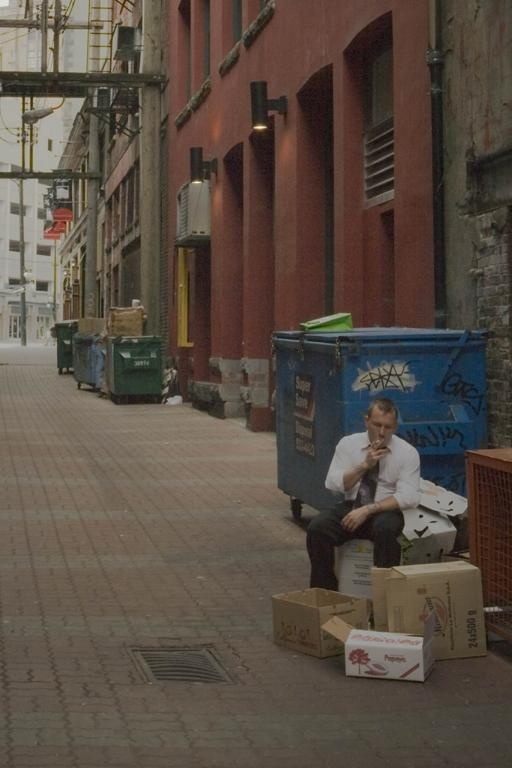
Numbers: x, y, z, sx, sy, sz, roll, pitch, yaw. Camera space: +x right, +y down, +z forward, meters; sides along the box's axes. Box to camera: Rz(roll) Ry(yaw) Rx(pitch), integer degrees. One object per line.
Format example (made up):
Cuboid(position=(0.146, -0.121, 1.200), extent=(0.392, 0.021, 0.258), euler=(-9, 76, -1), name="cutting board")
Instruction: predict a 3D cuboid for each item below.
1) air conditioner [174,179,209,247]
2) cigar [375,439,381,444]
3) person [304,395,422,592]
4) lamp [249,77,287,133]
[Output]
Cuboid(position=(-1.084, -2.921, 19.050), extent=(0.453, 1.238, 0.501), euler=(-2, 6, -25), name="air conditioner")
Cuboid(position=(0.643, 0.301, 5.869), extent=(0.021, 0.034, 0.033), euler=(6, -9, 5), name="cigar")
Cuboid(position=(0.574, 0.583, 5.960), extent=(0.558, 1.059, 0.669), euler=(0, 10, -18), name="person")
Cuboid(position=(0.151, -3.505, 14.040), extent=(0.401, 0.759, 0.374), euler=(-1, 2, -28), name="lamp")
